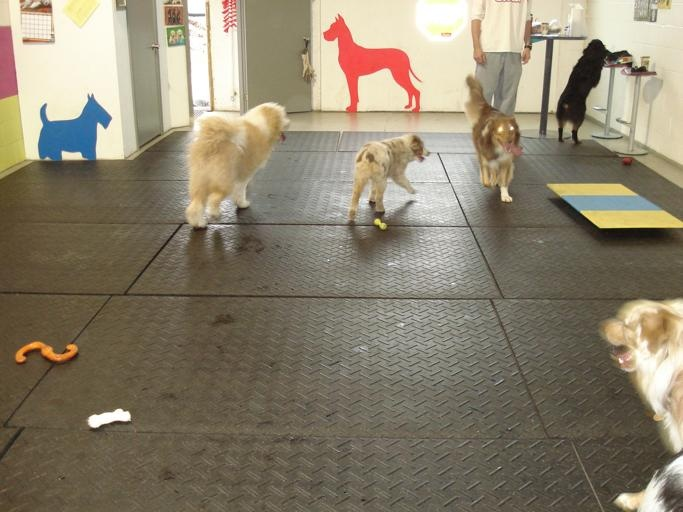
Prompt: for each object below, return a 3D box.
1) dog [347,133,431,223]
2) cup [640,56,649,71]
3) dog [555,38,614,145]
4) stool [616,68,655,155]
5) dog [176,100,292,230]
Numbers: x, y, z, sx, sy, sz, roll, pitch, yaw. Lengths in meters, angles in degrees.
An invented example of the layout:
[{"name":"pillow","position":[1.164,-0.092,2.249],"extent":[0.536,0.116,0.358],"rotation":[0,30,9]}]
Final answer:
[{"name":"dog","position":[0.423,-0.817,4.688],"extent":[0.356,0.593,1.096],"rotation":[20,32,35]},{"name":"cup","position":[4.063,-2.578,6.460],"extent":[0.113,0.171,0.374],"rotation":[16,29,26]},{"name":"dog","position":[3.372,-2.316,6.816],"extent":[0.485,1.339,0.769],"rotation":[14,29,23]},{"name":"stool","position":[3.959,-1.938,6.534],"extent":[0.573,1.044,0.471],"rotation":[6,22,24]},{"name":"dog","position":[-0.993,-0.828,4.422],"extent":[0.461,0.976,0.938],"rotation":[16,30,26]}]
